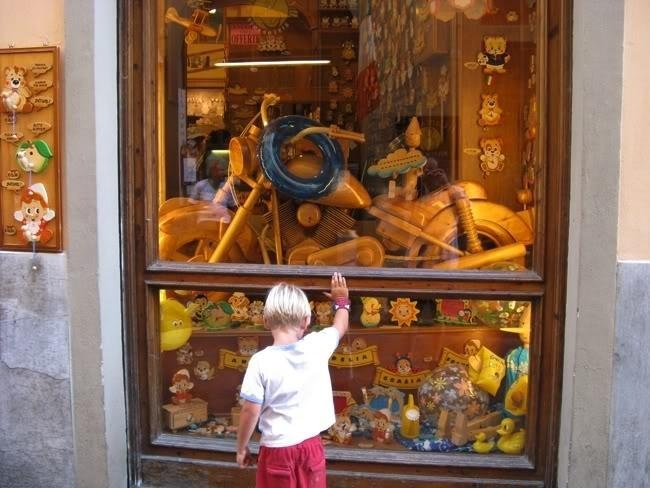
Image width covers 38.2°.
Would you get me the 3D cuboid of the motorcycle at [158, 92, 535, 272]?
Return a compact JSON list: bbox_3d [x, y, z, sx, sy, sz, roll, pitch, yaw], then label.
[{"bbox_3d":[0.110,-0.387,5.703,2.155,1.048,0.399,1,0,4],"label":"motorcycle"}]
